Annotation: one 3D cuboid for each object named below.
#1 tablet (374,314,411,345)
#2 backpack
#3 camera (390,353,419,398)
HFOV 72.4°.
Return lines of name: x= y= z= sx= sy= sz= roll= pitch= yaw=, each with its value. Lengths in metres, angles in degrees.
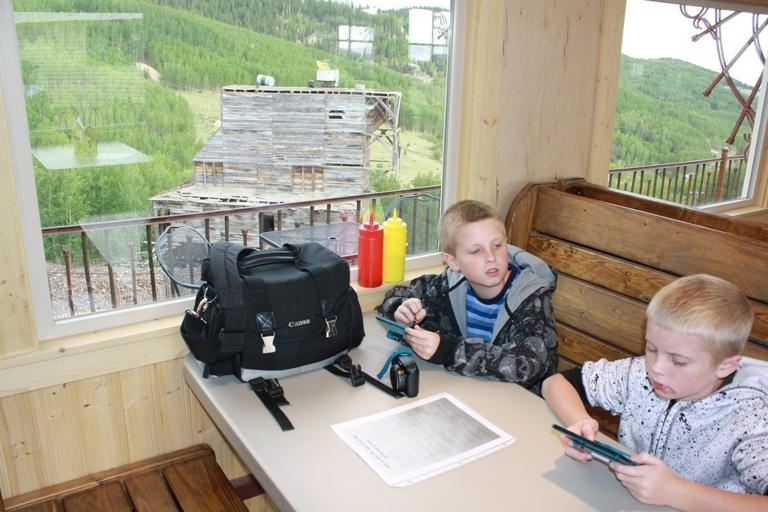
tablet: x=0.034 y=0.259 z=1.811 sx=0.140 sy=0.015 sz=0.110 roll=34 pitch=-1 yaw=28
backpack: x=-0.370 y=0.167 z=1.755 sx=0.595 sy=0.395 sz=0.367 roll=-12 pitch=26 yaw=-34
camera: x=0.061 y=0.369 z=1.590 sx=0.064 sy=0.082 sz=0.113 roll=-3 pitch=14 yaw=-18
